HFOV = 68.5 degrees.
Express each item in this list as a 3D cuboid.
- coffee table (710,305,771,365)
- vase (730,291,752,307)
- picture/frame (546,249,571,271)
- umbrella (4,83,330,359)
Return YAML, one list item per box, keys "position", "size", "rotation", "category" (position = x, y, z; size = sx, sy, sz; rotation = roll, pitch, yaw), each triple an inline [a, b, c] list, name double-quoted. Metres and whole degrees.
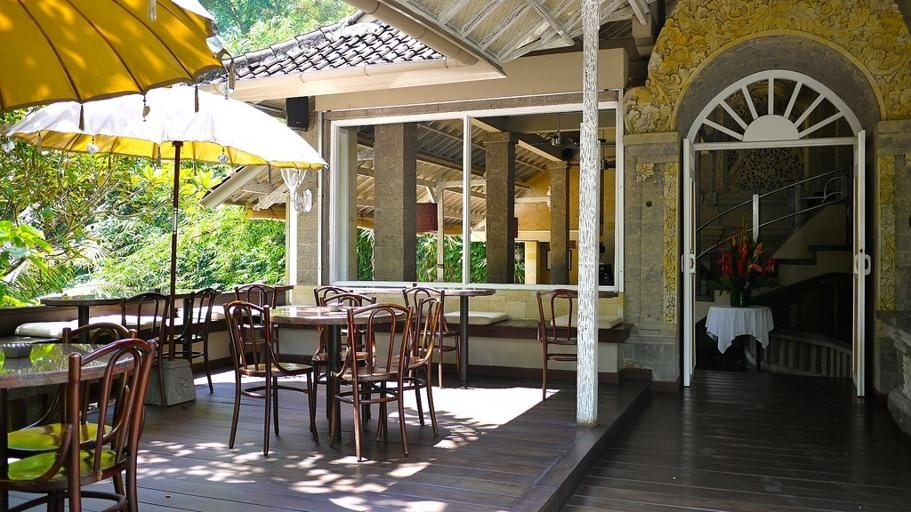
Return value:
- position: [4.412, 1.200, 10.395]
  size: [0.895, 0.519, 0.837]
  rotation: [1, 3, 22]
  category: "coffee table"
- position: [4.555, 0.698, 10.667]
  size: [0.295, 0.175, 0.269]
  rotation: [1, 1, 14]
  category: "vase"
- position: [2.357, 0.109, 15.393]
  size: [0.526, 0.501, 0.667]
  rotation: [2, 8, 6]
  category: "picture/frame"
- position: [-3.129, -0.448, 8.165]
  size: [3.412, 1.846, 2.989]
  rotation: [0, -5, 13]
  category: "umbrella"
